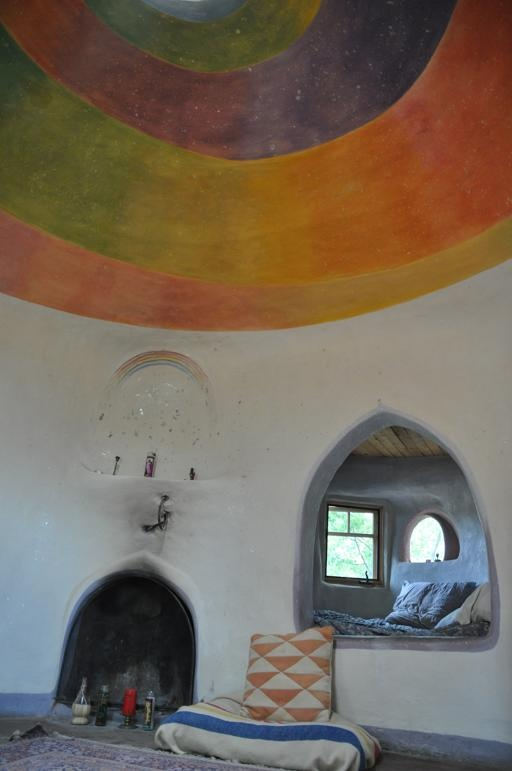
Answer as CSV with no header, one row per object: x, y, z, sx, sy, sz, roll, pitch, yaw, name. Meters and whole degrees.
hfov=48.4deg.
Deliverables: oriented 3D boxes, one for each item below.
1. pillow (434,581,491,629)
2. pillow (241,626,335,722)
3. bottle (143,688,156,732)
1.245,1.289,3.345,0.236,0.228,0.747,-5,-24,16,pillow
0.175,1.536,3.069,0.475,0.437,0.445,-1,-22,5,pillow
-0.662,2.003,3.535,0.053,0.193,0.325,5,-23,-10,bottle
